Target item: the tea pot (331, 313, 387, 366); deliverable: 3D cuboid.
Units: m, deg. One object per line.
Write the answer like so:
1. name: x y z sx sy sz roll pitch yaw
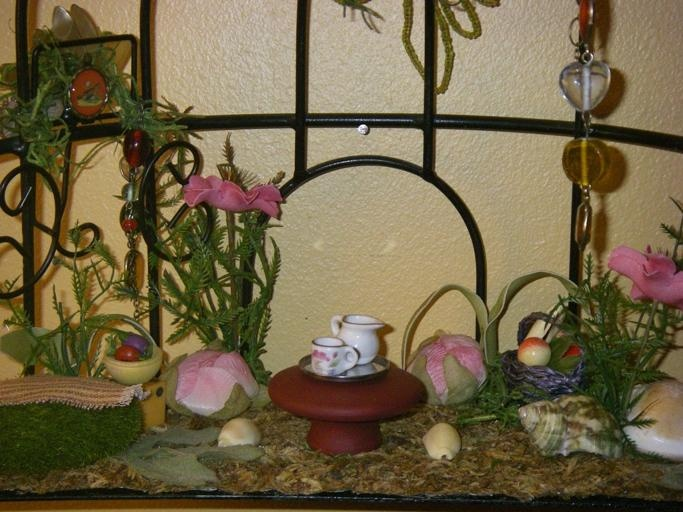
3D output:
1. tea pot: 0.027 0.147 1.257 0.111 0.091 0.085 12 18 29

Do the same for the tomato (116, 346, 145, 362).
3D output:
1. tomato: -0.393 0.184 1.204 0.037 0.028 0.029 26 22 -20

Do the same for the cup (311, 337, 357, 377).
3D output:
1. cup: -0.009 0.186 1.175 0.089 0.067 0.067 5 -2 12

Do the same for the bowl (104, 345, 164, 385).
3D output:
1. bowl: -0.397 0.214 1.242 0.109 0.058 0.107 5 11 -1

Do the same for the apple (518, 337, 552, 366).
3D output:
1. apple: 0.361 0.187 1.254 0.054 0.053 0.063 -7 -20 -14

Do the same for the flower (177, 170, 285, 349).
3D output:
1. flower: -0.226 0.010 1.349 0.209 0.369 0.232 0 12 -7
